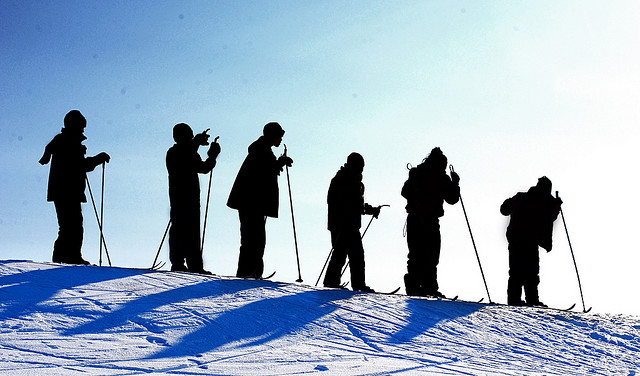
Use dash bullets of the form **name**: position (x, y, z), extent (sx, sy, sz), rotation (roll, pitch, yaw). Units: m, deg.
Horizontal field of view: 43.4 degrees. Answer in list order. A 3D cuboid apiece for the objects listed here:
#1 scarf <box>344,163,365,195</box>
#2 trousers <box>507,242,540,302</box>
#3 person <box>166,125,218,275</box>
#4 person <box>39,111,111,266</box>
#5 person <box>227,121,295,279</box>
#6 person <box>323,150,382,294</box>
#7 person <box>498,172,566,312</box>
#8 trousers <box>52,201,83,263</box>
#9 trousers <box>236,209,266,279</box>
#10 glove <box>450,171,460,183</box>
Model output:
- **scarf**: position (0.622, -0.121, 15.080), extent (0.411, 0.566, 1.289), rotation (9, 12, 2)
- **trousers**: position (4.137, 1.695, 16.431), extent (0.747, 1.176, 0.552), rotation (11, 13, 13)
- **person**: position (-2.341, 0.170, 14.388), extent (0.892, 2.488, 1.044), rotation (6, 13, -13)
- **person**: position (-4.422, -0.049, 14.260), extent (0.882, 2.510, 1.134), rotation (2, 14, -28)
- **person**: position (-1.148, 0.160, 14.348), extent (0.865, 2.678, 1.198), rotation (8, 12, -4)
- **person**: position (0.516, 0.628, 15.287), extent (0.722, 2.428, 1.305), rotation (6, 13, -10)
- **person**: position (4.445, 1.063, 17.061), extent (1.464, 2.850, 1.126), rotation (9, 25, 8)
- **trousers**: position (-4.438, 0.764, 14.112), extent (0.488, 0.998, 0.630), rotation (4, 13, -20)
- **trousers**: position (-1.239, 0.977, 14.169), extent (0.540, 1.150, 0.573), rotation (7, 12, -6)
- **glove**: position (2.703, -0.227, 16.223), extent (0.174, 0.195, 0.395), rotation (9, 12, 5)
